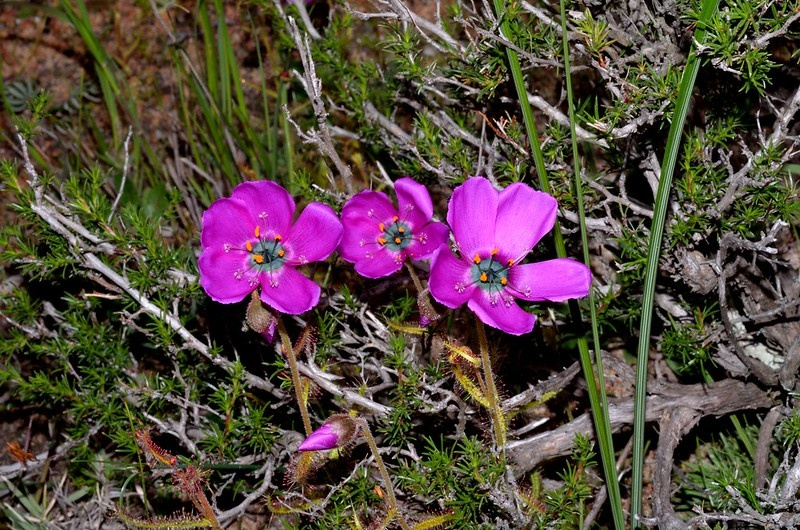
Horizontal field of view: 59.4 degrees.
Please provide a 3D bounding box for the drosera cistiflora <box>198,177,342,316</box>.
[{"bbox_3d":[-0.534,-0.082,2.936,0.551,0.348,0.417,-2,46,16],"label":"drosera cistiflora"}]

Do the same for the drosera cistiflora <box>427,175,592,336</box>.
[{"bbox_3d":[0.391,-0.019,3.024,0.553,0.700,0.257,14,32,-13],"label":"drosera cistiflora"}]
